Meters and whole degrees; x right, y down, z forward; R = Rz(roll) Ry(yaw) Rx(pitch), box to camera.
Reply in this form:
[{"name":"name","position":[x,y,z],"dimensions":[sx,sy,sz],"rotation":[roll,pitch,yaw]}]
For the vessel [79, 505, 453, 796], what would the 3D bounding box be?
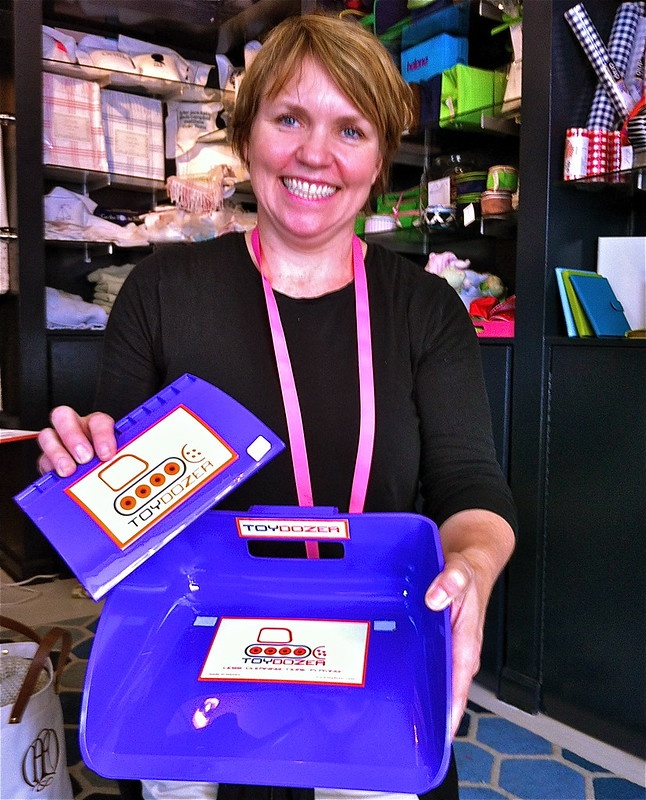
[{"name":"vessel","position":[-0.043,0.189,0.541],"dimensions":[0.287,0.143,0.198],"rotation":[1,17,9]}]
